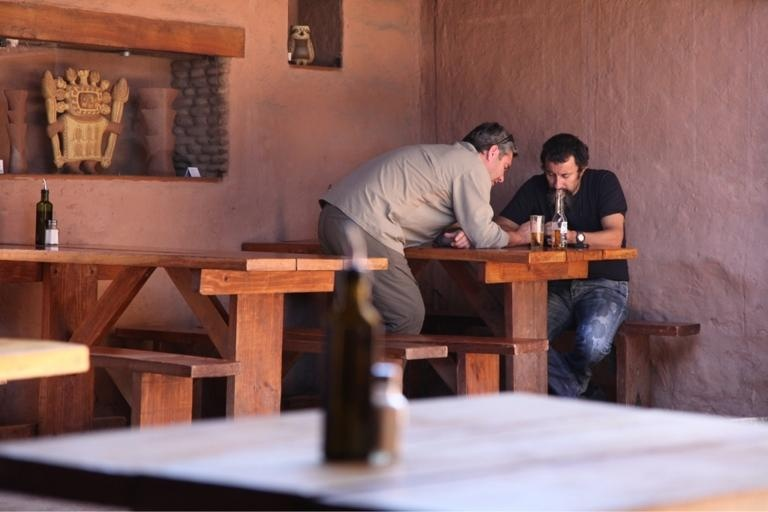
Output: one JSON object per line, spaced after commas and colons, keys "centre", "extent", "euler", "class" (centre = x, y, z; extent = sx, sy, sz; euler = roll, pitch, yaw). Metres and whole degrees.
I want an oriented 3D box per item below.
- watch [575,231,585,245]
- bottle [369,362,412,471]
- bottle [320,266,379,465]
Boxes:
{"centre": [1.162, -0.097, 4.450], "extent": [0.050, 0.072, 0.073], "euler": [-1, 7, -6], "class": "watch"}
{"centre": [0.012, 0.293, 1.408], "extent": [0.059, 0.192, 0.150], "euler": [3, 12, 21], "class": "bottle"}
{"centre": [-0.067, 0.196, 1.424], "extent": [0.110, 0.356, 0.178], "euler": [-2, 11, -1], "class": "bottle"}
